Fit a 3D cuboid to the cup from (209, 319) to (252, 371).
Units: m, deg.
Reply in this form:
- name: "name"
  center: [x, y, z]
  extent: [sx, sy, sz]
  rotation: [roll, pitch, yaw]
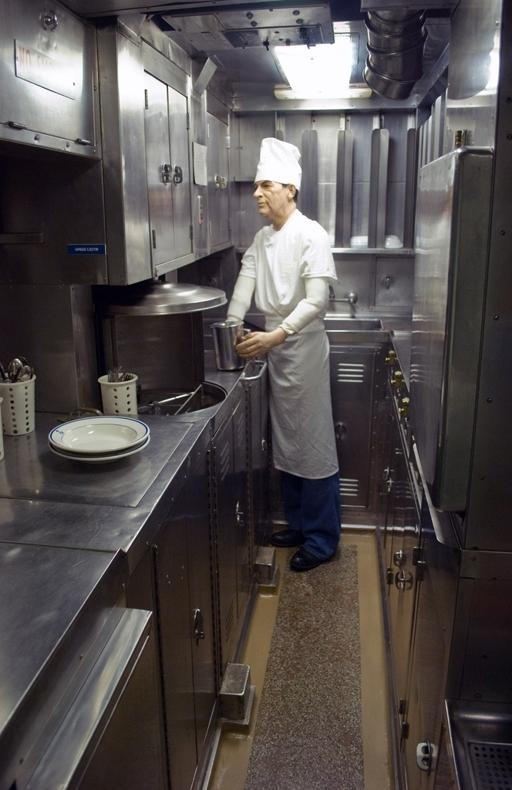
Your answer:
- name: "cup"
  center: [-0.121, -0.220, 2.287]
  extent: [0.172, 0.215, 0.123]
  rotation: [-13, 24, -12]

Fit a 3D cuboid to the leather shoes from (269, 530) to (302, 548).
- name: "leather shoes"
  center: [0.157, 0.746, 2.839]
  extent: [0.175, 0.095, 0.073]
  rotation: [5, 16, -8]

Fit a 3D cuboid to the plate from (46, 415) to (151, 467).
- name: "plate"
  center: [-0.361, 0.094, 1.272]
  extent: [0.129, 0.043, 0.146]
  rotation: [-2, 30, -8]

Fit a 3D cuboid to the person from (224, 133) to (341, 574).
- name: "person"
  center: [0.136, -0.143, 2.518]
  extent: [0.510, 1.962, 0.646]
  rotation: [1, 11, 9]

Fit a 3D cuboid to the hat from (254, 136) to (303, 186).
- name: "hat"
  center: [0.101, -1.014, 2.390]
  extent: [0.209, 0.205, 0.155]
  rotation: [-3, 12, -8]
